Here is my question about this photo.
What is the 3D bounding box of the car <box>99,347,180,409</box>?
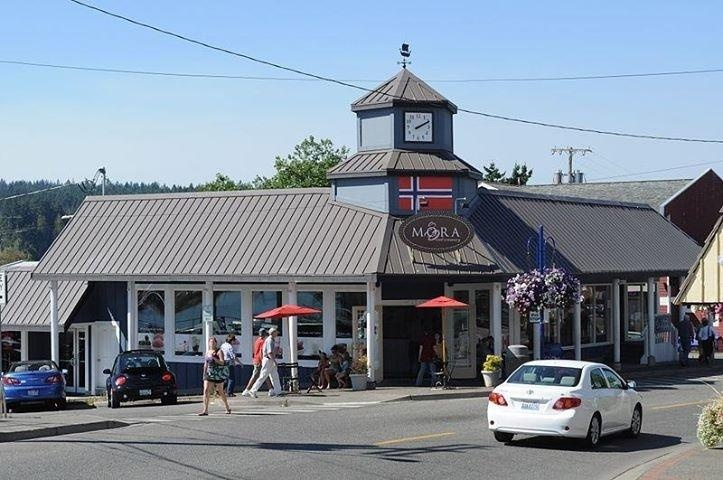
[{"bbox_3d":[-8.966,5.624,49.686,2.772,2.360,1.006,1,-11,-7],"label":"car"}]

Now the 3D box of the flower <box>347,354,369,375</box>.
[{"bbox_3d":[-0.085,5.245,51.821,0.877,0.914,0.709,5,-23,-15],"label":"flower"}]

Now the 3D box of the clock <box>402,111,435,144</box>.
[{"bbox_3d":[2.514,-4.997,54.788,1.406,1.440,0.145,1,-10,-4],"label":"clock"}]

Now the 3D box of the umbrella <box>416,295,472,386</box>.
[{"bbox_3d":[3.482,4.313,51.208,1.593,3.963,1.690,-2,-2,-12],"label":"umbrella"}]

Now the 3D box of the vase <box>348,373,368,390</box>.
[{"bbox_3d":[-0.155,5.951,51.423,0.645,0.491,0.657,-6,-8,31],"label":"vase"}]

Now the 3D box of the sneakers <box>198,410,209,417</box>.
[{"bbox_3d":[-5.900,6.471,45.641,0.321,0.216,0.177,9,-10,-29],"label":"sneakers"}]

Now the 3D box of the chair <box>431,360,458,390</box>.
[{"bbox_3d":[3.530,5.741,51.982,1.101,1.043,1.032,0,-6,-2],"label":"chair"}]

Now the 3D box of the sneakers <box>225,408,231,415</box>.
[{"bbox_3d":[-5.020,6.434,45.918,0.150,0.181,0.450,0,-12,-2],"label":"sneakers"}]

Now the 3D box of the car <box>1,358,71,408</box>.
[{"bbox_3d":[-13.349,5.875,49.939,2.329,2.109,1.874,-4,-12,17],"label":"car"}]

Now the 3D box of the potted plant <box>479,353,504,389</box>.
[{"bbox_3d":[5.501,5.575,52.320,1.330,1.846,1.129,3,-8,-3],"label":"potted plant"}]
